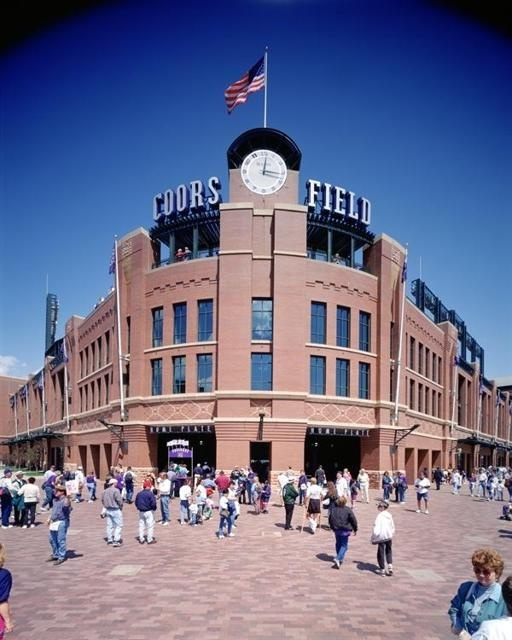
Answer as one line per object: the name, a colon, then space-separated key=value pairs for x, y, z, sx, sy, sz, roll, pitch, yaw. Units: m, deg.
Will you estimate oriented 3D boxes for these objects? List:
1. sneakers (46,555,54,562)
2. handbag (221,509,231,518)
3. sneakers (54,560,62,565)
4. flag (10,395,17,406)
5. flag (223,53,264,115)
sneakers: x=-4.675 y=5.451 z=15.287 sx=0.123 sy=0.187 sz=0.413 roll=0 pitch=-22 yaw=-3
handbag: x=-0.822 y=5.314 z=18.502 sx=0.173 sy=0.235 sz=0.234 roll=32 pitch=-52 yaw=-17
sneakers: x=-4.367 y=5.351 z=14.812 sx=0.068 sy=0.068 sz=0.191 roll=-13 pitch=-15 yaw=-10
flag: x=-33.487 y=11.159 z=92.426 sx=0.389 sy=1.311 sz=2.186 roll=4 pitch=-12 yaw=-19
flag: x=-0.439 y=-13.078 z=36.686 sx=2.236 sy=0.340 sz=2.998 roll=-23 pitch=-26 yaw=-17
